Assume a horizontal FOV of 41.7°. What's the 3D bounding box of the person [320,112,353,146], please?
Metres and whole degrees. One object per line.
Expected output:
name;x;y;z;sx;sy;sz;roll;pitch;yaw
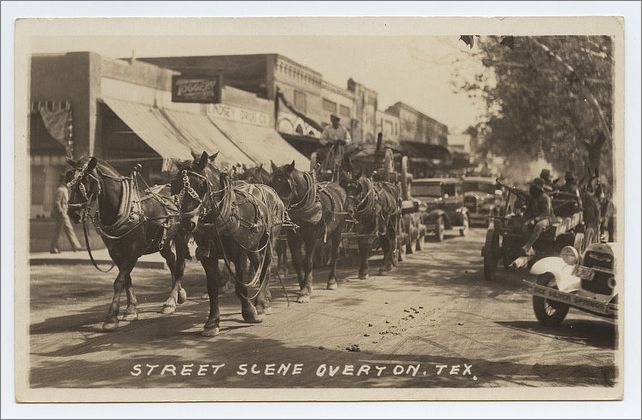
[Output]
person;0.297;-1.806;19.496;0.852;1.130;0.636;-1;2;-3

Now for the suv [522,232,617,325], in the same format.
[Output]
suv;5.151;1.400;17.123;2.143;1.009;1.301;6;-9;-42

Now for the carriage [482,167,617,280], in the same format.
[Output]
carriage;5.360;0.234;18.855;1.856;1.495;3.078;3;15;34
